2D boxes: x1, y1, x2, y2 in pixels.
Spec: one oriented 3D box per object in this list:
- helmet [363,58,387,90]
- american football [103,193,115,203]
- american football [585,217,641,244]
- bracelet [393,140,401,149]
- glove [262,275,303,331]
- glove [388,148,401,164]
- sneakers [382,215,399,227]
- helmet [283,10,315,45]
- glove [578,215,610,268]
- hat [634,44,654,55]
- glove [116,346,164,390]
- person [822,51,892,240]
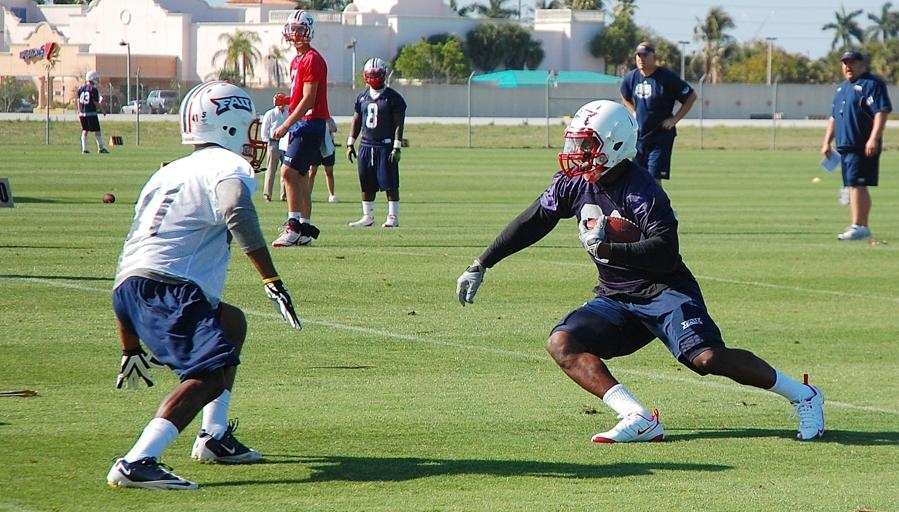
[{"bbox_3d":[-1.350,-3.481,28.561,0.485,0.467,0.617,-2,6,7],"label":"helmet"},{"bbox_3d":[-7.007,-1.218,31.037,0.182,0.159,0.169,-16,32,-21],"label":"american football"},{"bbox_3d":[2.154,-0.362,19.535,0.565,0.151,0.370,11,0,18],"label":"american football"},{"bbox_3d":[-0.982,-2.128,28.307,0.154,0.128,0.148,4,3,18],"label":"bracelet"},{"bbox_3d":[-2.314,0.666,20.839,0.380,0.828,0.267,-30,20,27],"label":"glove"},{"bbox_3d":[-0.997,-1.923,28.379,0.212,0.200,0.270,1,5,-8],"label":"glove"},{"bbox_3d":[-1.087,-0.701,28.473,0.299,0.222,0.530,0,7,-2],"label":"sneakers"},{"bbox_3d":[-2.646,-4.070,26.374,0.501,0.491,0.652,5,13,19],"label":"helmet"},{"bbox_3d":[1.886,-0.282,19.501,0.367,0.734,0.333,1,7,4],"label":"glove"},{"bbox_3d":[3.536,-3.745,26.988,0.297,0.210,0.509,1,7,7],"label":"hat"},{"bbox_3d":[-3.960,1.438,19.362,0.722,0.627,0.202,0,-6,-10],"label":"glove"},{"bbox_3d":[7.361,-1.998,27.040,1.149,3.369,0.653,5,9,32],"label":"person"}]
